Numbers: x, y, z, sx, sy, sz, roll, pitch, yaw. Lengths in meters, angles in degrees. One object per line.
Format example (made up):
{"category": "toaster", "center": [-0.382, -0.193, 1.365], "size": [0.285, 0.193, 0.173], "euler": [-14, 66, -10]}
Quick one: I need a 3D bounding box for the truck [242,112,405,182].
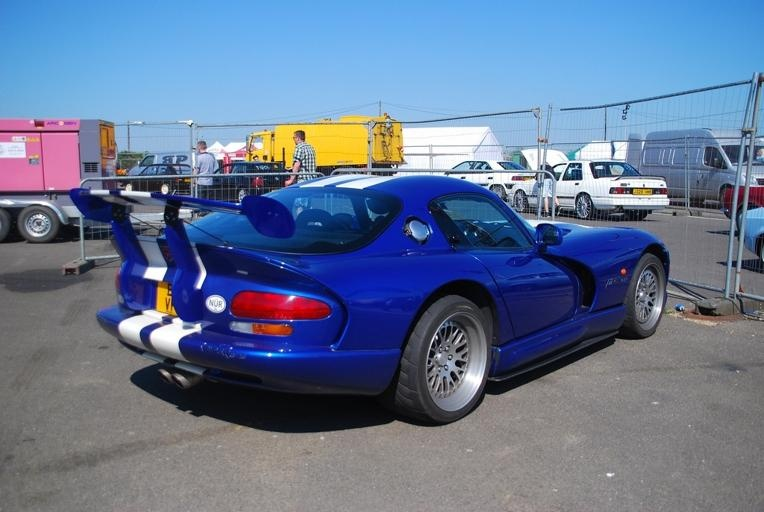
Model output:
{"category": "truck", "center": [-2.797, -5.135, 25.855], "size": [7.116, 3.421, 3.481], "euler": [5, 13, 25]}
